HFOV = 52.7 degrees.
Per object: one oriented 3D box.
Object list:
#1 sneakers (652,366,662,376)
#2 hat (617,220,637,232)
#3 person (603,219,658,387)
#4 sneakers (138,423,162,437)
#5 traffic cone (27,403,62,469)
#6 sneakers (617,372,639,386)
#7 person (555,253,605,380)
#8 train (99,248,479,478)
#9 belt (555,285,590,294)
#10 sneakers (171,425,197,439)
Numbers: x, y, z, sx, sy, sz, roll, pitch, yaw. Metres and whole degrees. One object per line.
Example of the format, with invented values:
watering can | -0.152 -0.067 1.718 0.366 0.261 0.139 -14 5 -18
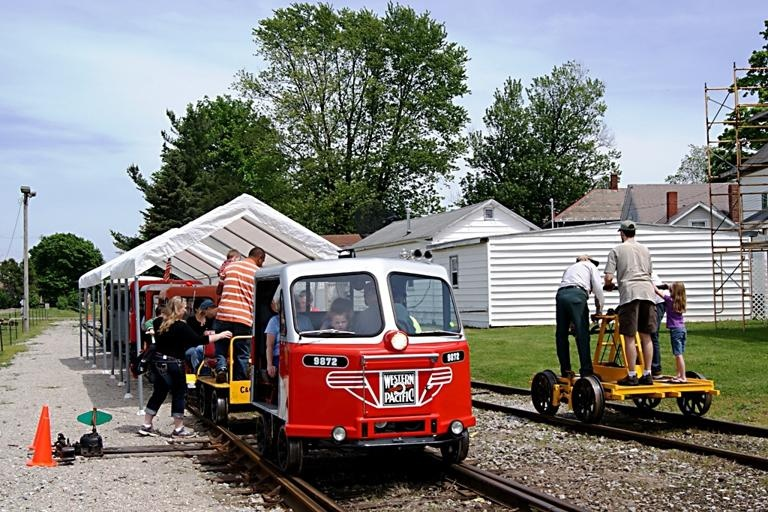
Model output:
sneakers | 5.008 2.139 14.513 0.158 0.114 0.161 -1 0 28
hat | 4.323 -0.540 14.112 0.234 0.150 0.294 1 10 3
person | 4.325 0.819 13.840 0.821 2.948 0.668 -1 -3 18
sneakers | -4.247 3.171 14.162 0.421 0.184 0.186 3 0 -17
traffic cone | -5.532 2.861 12.641 0.420 0.968 1.052 1 -3 -25
sneakers | 4.251 2.195 13.824 0.166 0.146 0.348 1 -1 -28
person | 3.556 1.133 14.492 0.832 2.269 0.556 -1 -3 16
train | -1.114 1.657 14.168 3.159 3.090 6.455 1 0 -25
belt | 3.469 0.651 14.503 0.585 0.223 0.353 -1 -3 11
sneakers | -3.565 3.199 14.122 0.498 0.233 0.208 0 -2 4
